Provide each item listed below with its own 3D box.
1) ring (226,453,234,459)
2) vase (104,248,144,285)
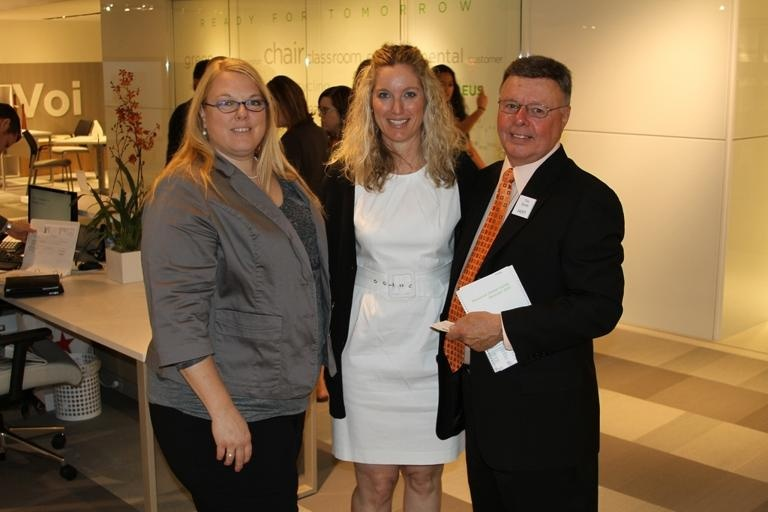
[{"bbox_3d":[-0.558,0.731,2.119,0.024,0.019,0.025,0,1,0],"label":"ring"},{"bbox_3d":[-1.829,0.069,4.119,0.226,0.233,0.239,5,7,44],"label":"vase"}]
